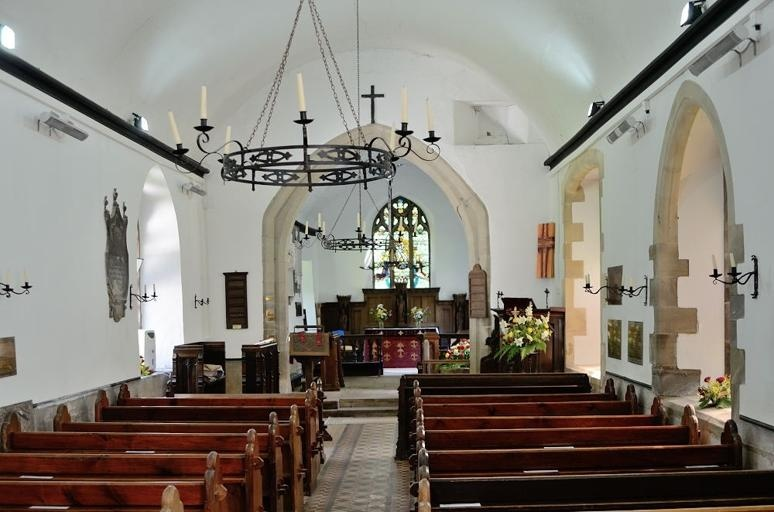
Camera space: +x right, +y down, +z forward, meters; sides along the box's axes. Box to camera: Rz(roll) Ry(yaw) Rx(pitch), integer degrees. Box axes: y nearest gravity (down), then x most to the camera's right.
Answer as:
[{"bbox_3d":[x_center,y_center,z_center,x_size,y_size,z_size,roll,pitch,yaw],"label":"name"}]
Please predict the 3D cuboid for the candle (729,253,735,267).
[{"bbox_3d":[3.686,0.047,6.879,0.045,0.156,0.121,-4,-7,20],"label":"candle"}]

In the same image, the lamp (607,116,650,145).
[{"bbox_3d":[3.331,-1.719,8.998,0.175,0.284,0.784,-1,-8,-8],"label":"lamp"}]

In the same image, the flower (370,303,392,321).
[{"bbox_3d":[-0.239,1.858,20.943,0.489,0.589,0.554,1,5,6],"label":"flower"}]

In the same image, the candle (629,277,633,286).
[{"bbox_3d":[3.367,0.359,8.898,0.050,0.154,0.230,-4,-8,21],"label":"candle"}]

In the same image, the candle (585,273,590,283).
[{"bbox_3d":[2.843,0.337,9.146,0.048,0.143,0.284,-3,-8,11],"label":"candle"}]

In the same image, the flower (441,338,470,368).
[{"bbox_3d":[1.453,2.176,13.628,0.552,0.533,0.571,8,15,30],"label":"flower"}]

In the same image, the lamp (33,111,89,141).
[{"bbox_3d":[-4.386,-1.708,8.700,0.197,0.258,0.810,-3,-8,9],"label":"lamp"}]

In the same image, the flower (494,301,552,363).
[{"bbox_3d":[2.375,1.306,10.771,0.576,0.714,0.561,-6,-7,-16],"label":"flower"}]
